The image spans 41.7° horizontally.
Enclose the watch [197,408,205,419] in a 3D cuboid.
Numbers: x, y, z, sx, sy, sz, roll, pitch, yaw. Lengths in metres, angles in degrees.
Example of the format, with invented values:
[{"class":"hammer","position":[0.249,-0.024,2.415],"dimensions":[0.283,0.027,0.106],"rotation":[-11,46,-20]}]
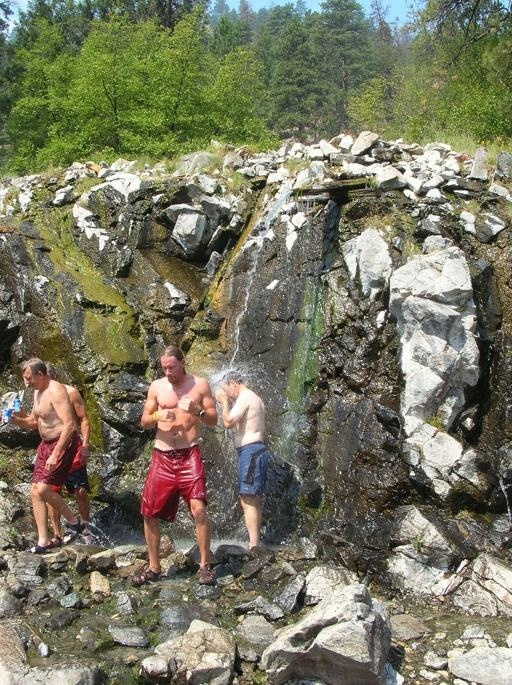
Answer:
[{"class":"watch","position":[-0.462,0.608,5.743],"dimensions":[0.075,0.099,0.055],"rotation":[-3,-6,25]}]

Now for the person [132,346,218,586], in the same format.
[{"class":"person","position":[-0.678,1.104,5.789],"dimensions":[0.653,2.033,0.872],"rotation":[1,20,-4]}]

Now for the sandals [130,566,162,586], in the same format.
[{"class":"sandals","position":[-0.945,2.018,5.810],"dimensions":[0.223,0.104,0.105],"rotation":[15,-17,-37]}]

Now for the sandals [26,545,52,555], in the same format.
[{"class":"sandals","position":[-2.017,1.935,6.272],"dimensions":[0.079,0.063,0.200],"rotation":[6,-9,42]}]

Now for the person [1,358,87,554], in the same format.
[{"class":"person","position":[-2.010,1.141,6.571],"dimensions":[0.629,1.940,1.024],"rotation":[-5,21,-20]}]

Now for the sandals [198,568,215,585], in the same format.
[{"class":"sandals","position":[-0.414,1.989,5.702],"dimensions":[0.095,0.081,0.195],"rotation":[1,-12,-3]}]

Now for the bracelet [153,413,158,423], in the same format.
[{"class":"bracelet","position":[-0.861,0.650,5.805],"dimensions":[0.026,0.065,0.055],"rotation":[0,2,-24]}]

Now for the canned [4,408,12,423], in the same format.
[{"class":"canned","position":[-2.478,0.729,6.708],"dimensions":[0.076,0.120,0.061],"rotation":[-5,-2,37]}]

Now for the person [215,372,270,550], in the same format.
[{"class":"person","position":[-0.140,1.287,6.542],"dimensions":[0.499,1.808,0.944],"rotation":[1,20,-3]}]
